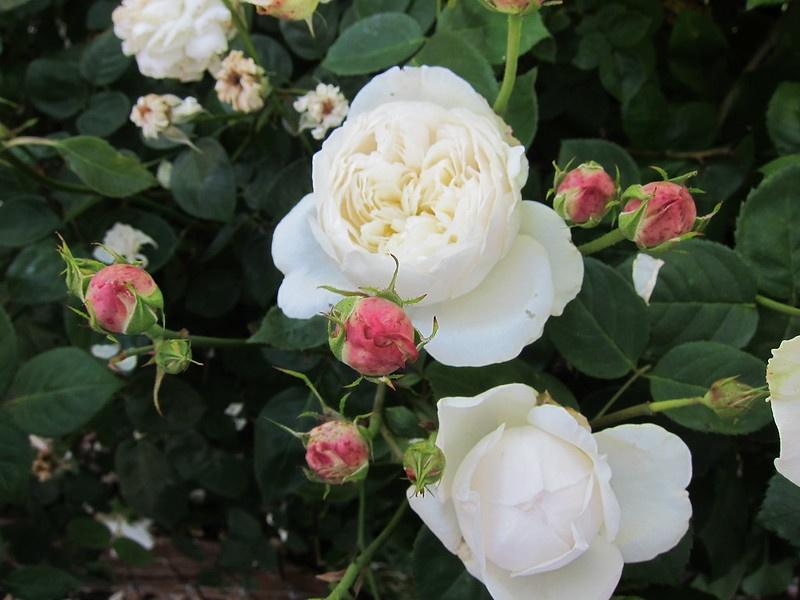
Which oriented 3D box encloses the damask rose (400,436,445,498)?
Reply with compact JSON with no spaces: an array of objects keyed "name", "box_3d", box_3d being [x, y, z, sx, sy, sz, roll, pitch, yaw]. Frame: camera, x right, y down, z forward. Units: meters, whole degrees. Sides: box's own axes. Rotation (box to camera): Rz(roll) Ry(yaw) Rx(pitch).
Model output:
[{"name":"damask rose","box_3d":[0.031,0.201,1.025,0.051,0.058,0.057,-23,61,-8]}]
